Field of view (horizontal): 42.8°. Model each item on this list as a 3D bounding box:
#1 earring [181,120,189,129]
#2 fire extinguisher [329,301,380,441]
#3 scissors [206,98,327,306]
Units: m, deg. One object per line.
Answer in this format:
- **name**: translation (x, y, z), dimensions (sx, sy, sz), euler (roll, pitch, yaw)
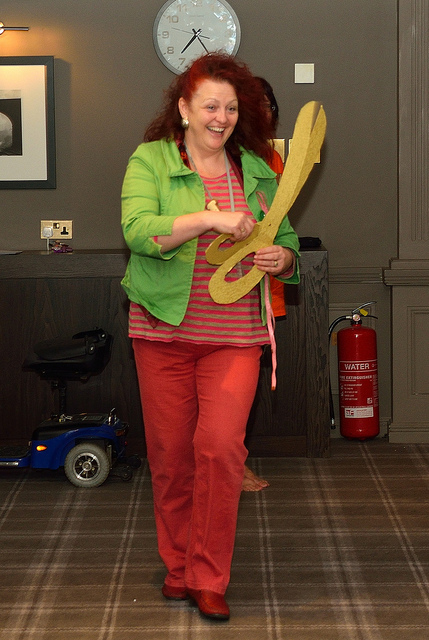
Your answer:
- **earring**: translation (-0.067, -0.456, 1.273), dimensions (0.021, 0.020, 0.011), euler (3, -8, -1)
- **fire extinguisher**: translation (0.863, 0.358, 3.374), dimensions (0.278, 0.779, 0.210), euler (-1, -2, 11)
- **scissors**: translation (0.099, -0.224, 1.188), dimensions (0.235, 0.377, 0.394), euler (-1, -1, -1)
